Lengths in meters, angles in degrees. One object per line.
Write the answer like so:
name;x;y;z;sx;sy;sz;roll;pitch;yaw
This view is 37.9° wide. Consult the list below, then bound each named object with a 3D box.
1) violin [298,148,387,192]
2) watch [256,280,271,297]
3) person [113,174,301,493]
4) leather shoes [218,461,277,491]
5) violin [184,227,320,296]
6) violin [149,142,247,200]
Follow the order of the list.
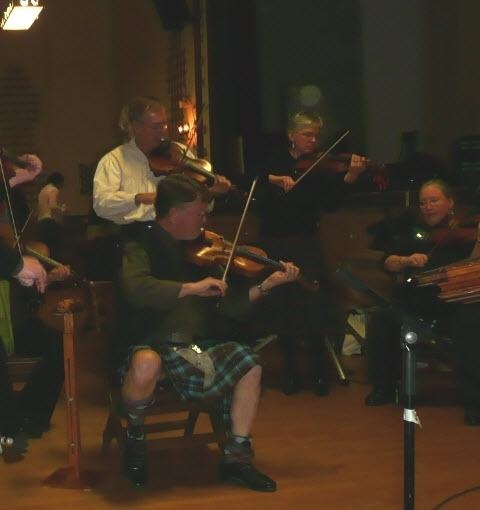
violin;0.523;-0.449;3.687;0.476;0.075;0.192;15;27;30
watch;0.098;0.128;2.681;0.015;0.054;0.056;22;55;40
person;-0.156;0.255;2.555;0.591;1.074;0.516;0;8;2
leather shoes;0.028;0.756;2.424;0.206;0.075;0.079;2;-4;23
violin;0.081;0.014;3.044;0.592;0.097;0.209;21;8;-5
violin;-0.170;-0.403;3.455;0.532;0.201;0.105;27;-22;-36
